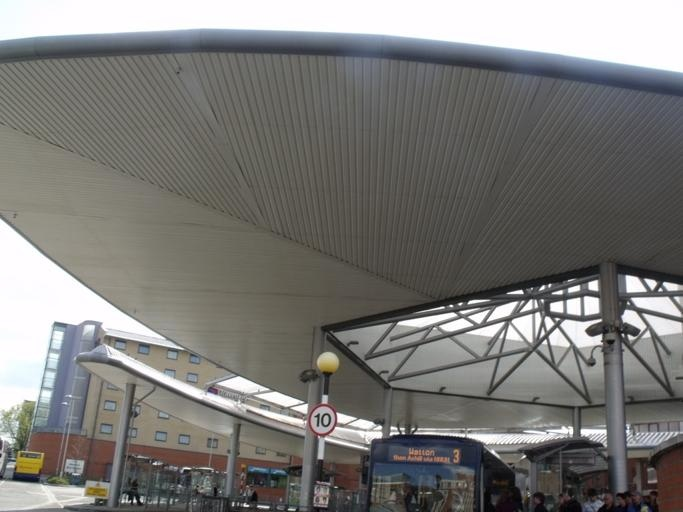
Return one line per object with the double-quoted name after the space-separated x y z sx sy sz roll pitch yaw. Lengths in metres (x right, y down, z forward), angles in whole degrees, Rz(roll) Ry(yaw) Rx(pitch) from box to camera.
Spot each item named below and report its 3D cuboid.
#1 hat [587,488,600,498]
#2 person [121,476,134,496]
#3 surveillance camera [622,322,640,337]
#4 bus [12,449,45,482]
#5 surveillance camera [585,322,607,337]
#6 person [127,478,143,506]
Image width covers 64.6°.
6.476 6.119 13.928 0.179 0.178 0.406 -4 -25 15 "hat"
-11.987 12.942 30.344 0.301 0.993 1.123 9 1 -11 "person"
8.660 2.209 16.215 0.373 0.351 0.763 -17 -31 37 "surveillance camera"
-32.441 21.477 56.412 2.506 2.153 4.310 6 -8 -20 "bus"
7.840 2.253 16.590 0.268 0.356 0.707 -8 -9 -36 "surveillance camera"
-11.621 13.266 30.332 0.739 1.312 1.086 1 -25 5 "person"
